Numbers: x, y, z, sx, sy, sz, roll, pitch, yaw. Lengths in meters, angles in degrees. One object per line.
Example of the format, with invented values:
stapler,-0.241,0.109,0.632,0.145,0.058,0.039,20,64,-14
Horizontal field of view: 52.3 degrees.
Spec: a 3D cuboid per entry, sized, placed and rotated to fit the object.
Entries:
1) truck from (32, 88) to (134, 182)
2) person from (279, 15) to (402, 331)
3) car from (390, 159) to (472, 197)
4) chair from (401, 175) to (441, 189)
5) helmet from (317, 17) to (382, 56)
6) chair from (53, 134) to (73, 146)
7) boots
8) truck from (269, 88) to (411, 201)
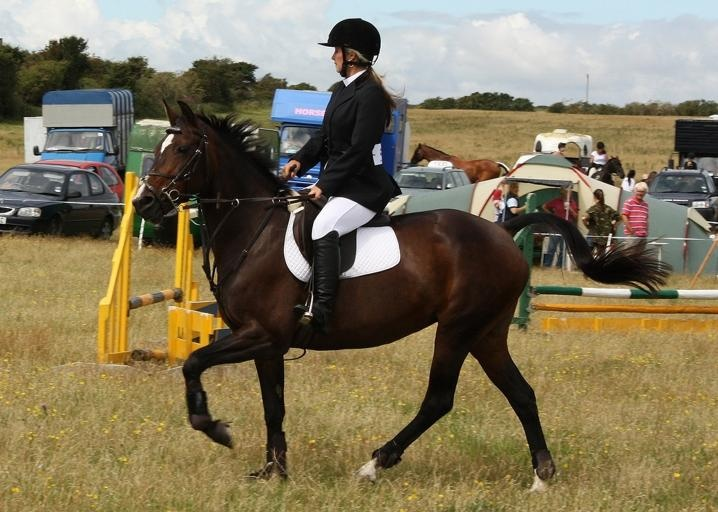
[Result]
truck,-10.292,-4.573,26.631,3.165,2.864,5.458,1,3,-2
person,-0.244,-0.769,6.662,1.038,2.714,1.237,8,15,12
car,2.242,-2.276,22.386,1.303,0.878,2.168,22,22,33
chair,1.844,-2.190,21.686,0.629,0.365,0.893,1,0,16
helmet,-0.085,-2.071,6.924,0.679,0.277,0.425,9,15,18
chair,-10.208,-3.982,25.146,0.452,0.424,0.747,-10,18,-44
boots,-0.357,0.229,6.465,0.308,0.861,0.392,8,15,11
truck,-0.884,-3.437,24.099,4.323,3.839,7.462,6,13,7
